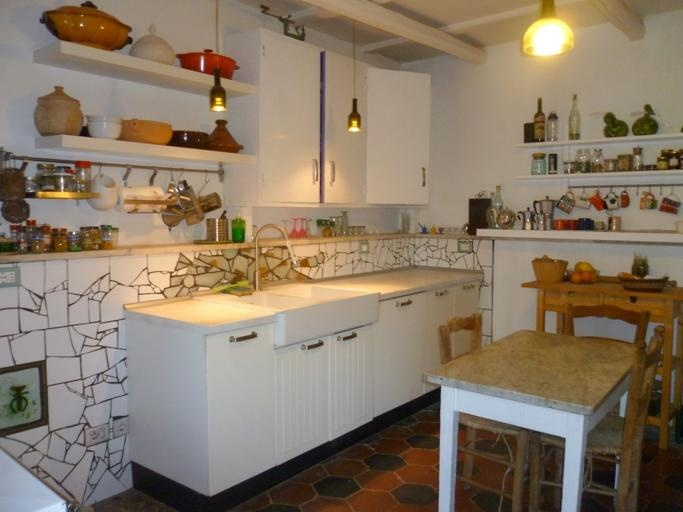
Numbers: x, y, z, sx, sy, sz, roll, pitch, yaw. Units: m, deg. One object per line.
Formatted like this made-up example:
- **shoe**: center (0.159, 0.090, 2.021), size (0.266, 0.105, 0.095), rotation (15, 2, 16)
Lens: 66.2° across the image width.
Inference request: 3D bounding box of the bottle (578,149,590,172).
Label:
- **bottle**: center (1.983, -0.782, 4.282), size (0.111, 0.184, 0.106), rotation (-1, 9, 0)

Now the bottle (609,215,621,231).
- **bottle**: center (2.171, -0.260, 4.150), size (0.101, 0.118, 0.102), rotation (-1, 7, -13)

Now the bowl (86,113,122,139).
- **bowl**: center (-1.338, -0.721, 2.966), size (0.157, 0.105, 0.140), rotation (4, 5, 41)

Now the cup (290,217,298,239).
- **cup**: center (-0.392, -0.235, 4.308), size (0.070, 0.145, 0.188), rotation (-1, 9, -5)

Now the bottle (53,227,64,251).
- **bottle**: center (-1.584, -0.090, 2.941), size (0.078, 0.123, 0.056), rotation (-6, 11, -31)

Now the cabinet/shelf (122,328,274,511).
- **cabinet/shelf**: center (-0.822, 0.815, 3.347), size (1.017, 1.341, 0.764), rotation (1, 3, 31)

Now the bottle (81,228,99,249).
- **bottle**: center (-1.469, -0.103, 3.065), size (0.113, 0.123, 0.069), rotation (-5, 10, -27)

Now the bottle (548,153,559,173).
- **bottle**: center (1.805, -0.792, 4.458), size (0.081, 0.169, 0.149), rotation (3, 10, 22)

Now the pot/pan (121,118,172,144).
- **pot/pan**: center (-1.180, -0.739, 3.124), size (0.194, 0.081, 0.181), rotation (5, 5, 10)

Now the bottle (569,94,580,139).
- **bottle**: center (1.948, -1.157, 4.351), size (0.106, 0.395, 0.213), rotation (3, 10, 23)

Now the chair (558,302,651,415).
- **chair**: center (1.846, 0.473, 3.792), size (0.552, 0.908, 0.574), rotation (9, 45, 26)

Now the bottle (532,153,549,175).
- **bottle**: center (1.701, -0.789, 4.475), size (0.131, 0.179, 0.166), rotation (2, 10, 18)

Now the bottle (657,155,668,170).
- **bottle**: center (2.445, -0.710, 3.980), size (0.096, 0.105, 0.094), rotation (-3, 7, -42)

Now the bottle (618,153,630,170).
- **bottle**: center (2.220, -0.741, 4.100), size (0.109, 0.159, 0.112), rotation (1, 5, 0)

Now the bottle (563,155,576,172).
- **bottle**: center (1.899, -0.744, 4.346), size (0.088, 0.099, 0.105), rotation (2, 10, 18)

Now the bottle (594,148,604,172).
- **bottle**: center (2.100, -0.788, 4.267), size (0.081, 0.190, 0.172), rotation (4, 10, 25)

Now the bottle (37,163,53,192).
- **bottle**: center (-1.617, -0.432, 2.864), size (0.100, 0.144, 0.125), rotation (-9, 13, -44)

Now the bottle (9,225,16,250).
- **bottle**: center (-1.762, -0.102, 2.818), size (0.035, 0.134, 0.075), rotation (-6, 11, -31)

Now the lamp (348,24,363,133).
- **lamp**: center (0.096, -1.260, 3.743), size (0.092, 0.667, 0.088), rotation (-22, 31, -39)

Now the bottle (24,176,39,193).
- **bottle**: center (-1.690, -0.393, 2.851), size (0.075, 0.087, 0.074), rotation (1, 0, -36)

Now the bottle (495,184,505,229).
- **bottle**: center (1.412, -0.444, 4.691), size (0.092, 0.364, 0.198), rotation (2, 9, 17)

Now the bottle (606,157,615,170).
- **bottle**: center (2.145, -0.724, 4.170), size (0.083, 0.095, 0.073), rotation (3, 10, 22)

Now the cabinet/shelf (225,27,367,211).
- **cabinet/shelf**: center (-0.244, -0.859, 4.143), size (0.335, 0.949, 1.012), rotation (0, 1, 44)

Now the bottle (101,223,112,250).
- **bottle**: center (-1.396, -0.112, 3.105), size (0.072, 0.136, 0.074), rotation (-1, 9, 0)

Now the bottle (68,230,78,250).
- **bottle**: center (-1.530, -0.085, 2.994), size (0.061, 0.101, 0.076), rotation (-5, 10, -28)

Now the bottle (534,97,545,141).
- **bottle**: center (1.695, -1.158, 4.458), size (0.095, 0.355, 0.075), rotation (2, 9, 18)

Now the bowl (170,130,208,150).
- **bowl**: center (-0.975, -0.752, 3.356), size (0.239, 0.124, 0.169), rotation (-2, 9, -12)

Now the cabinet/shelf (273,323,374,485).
- **cabinet/shelf**: center (-0.189, 0.837, 3.525), size (0.444, 0.762, 0.882), rotation (7, 9, 40)

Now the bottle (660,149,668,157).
- **bottle**: center (2.469, -0.786, 3.985), size (0.056, 0.056, 0.073), rotation (5, 11, 31)

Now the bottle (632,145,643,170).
- **bottle**: center (2.326, -0.763, 4.101), size (0.080, 0.181, 0.183), rotation (4, 10, 28)

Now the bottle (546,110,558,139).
- **bottle**: center (1.778, -1.090, 4.428), size (0.101, 0.237, 0.077), rotation (5, 11, 33)

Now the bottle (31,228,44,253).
- **bottle**: center (-1.666, -0.087, 2.863), size (0.068, 0.132, 0.056), rotation (-6, 11, -32)
